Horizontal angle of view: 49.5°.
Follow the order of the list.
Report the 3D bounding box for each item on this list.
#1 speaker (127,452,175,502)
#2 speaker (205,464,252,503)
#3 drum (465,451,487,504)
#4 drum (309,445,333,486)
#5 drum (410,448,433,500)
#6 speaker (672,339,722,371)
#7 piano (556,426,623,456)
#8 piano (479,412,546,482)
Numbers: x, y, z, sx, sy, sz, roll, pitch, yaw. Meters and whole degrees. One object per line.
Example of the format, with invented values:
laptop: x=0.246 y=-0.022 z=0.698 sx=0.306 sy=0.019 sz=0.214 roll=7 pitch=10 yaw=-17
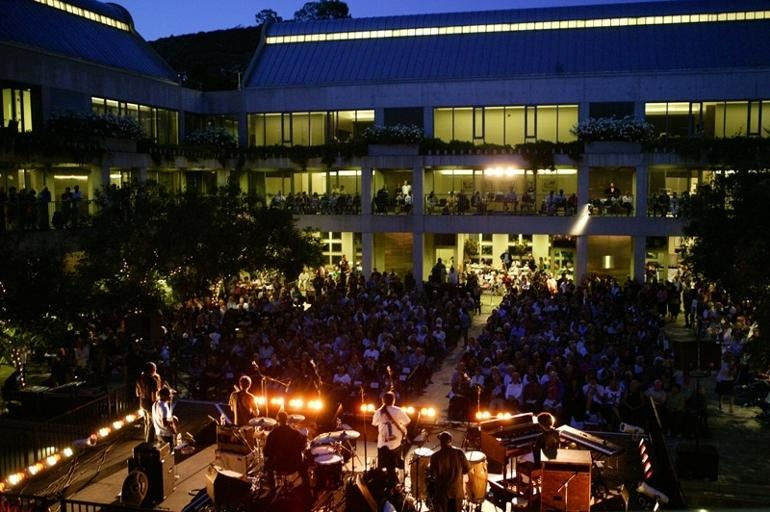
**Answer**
speaker: x=-6.720 y=6.366 z=23.985 sx=1.155 sy=1.585 sz=1.364 roll=-1 pitch=-7 yaw=15
speaker: x=-4.285 y=6.351 z=22.990 sx=0.920 sy=0.920 sz=1.314 roll=-5 pitch=5 yaw=-32
drum: x=2.522 y=6.212 z=23.037 sx=0.563 sy=1.360 sz=1.705 roll=1 pitch=3 yaw=7
drum: x=-1.676 y=5.712 z=23.271 sx=0.819 sy=0.968 sz=0.881 roll=0 pitch=44 yaw=-7
drum: x=0.987 y=6.122 z=23.382 sx=0.644 sy=1.422 sz=0.636 roll=1 pitch=4 yaw=0
speaker: x=9.882 y=3.202 z=26.806 sx=1.518 sy=1.140 sz=0.872 roll=-2 pitch=-5 yaw=4
piano: x=5.730 y=5.210 z=23.591 sx=1.716 sy=0.642 sz=0.939 roll=2 pitch=4 yaw=22
piano: x=3.807 y=5.503 z=24.140 sx=1.881 sy=1.560 sz=1.000 roll=-5 pitch=5 yaw=-37
